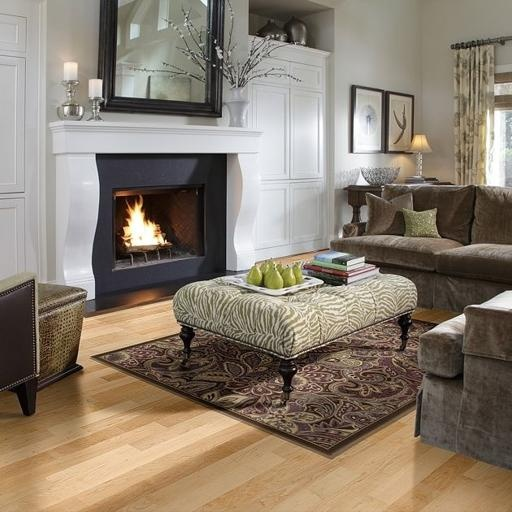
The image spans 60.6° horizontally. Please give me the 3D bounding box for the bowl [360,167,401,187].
[{"bbox_3d":[1.771,-1.107,6.224,0.431,0.189,0.420,-1,4,0],"label":"bowl"}]

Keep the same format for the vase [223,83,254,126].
[{"bbox_3d":[-0.229,-1.587,4.676,0.295,0.464,0.262,2,7,14],"label":"vase"}]

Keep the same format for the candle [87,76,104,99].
[{"bbox_3d":[-1.360,-1.400,3.675,0.182,0.180,0.171,-1,6,-15],"label":"candle"}]

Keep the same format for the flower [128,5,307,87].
[{"bbox_3d":[-0.431,-2.193,4.637,1.646,0.672,1.643,-1,13,-8],"label":"flower"}]

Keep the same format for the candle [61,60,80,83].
[{"bbox_3d":[-1.545,-1.494,3.611,0.176,0.175,0.167,-3,8,-25],"label":"candle"}]

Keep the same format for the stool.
[{"bbox_3d":[-1.023,0.396,2.210,0.180,0.456,0.322,1,6,8],"label":"stool"}]

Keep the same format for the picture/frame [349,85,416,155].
[{"bbox_3d":[1.911,-2.107,6.751,1.428,0.766,0.061,-6,9,-43],"label":"picture/frame"}]
